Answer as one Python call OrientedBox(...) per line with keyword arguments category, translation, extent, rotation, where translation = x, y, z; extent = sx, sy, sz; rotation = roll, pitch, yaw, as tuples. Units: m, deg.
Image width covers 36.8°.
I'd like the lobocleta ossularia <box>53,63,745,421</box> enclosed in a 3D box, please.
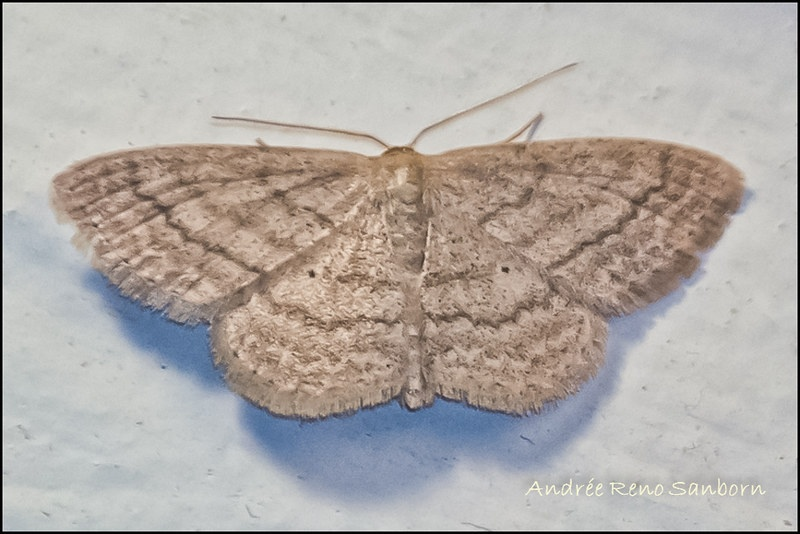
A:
OrientedBox(category="lobocleta ossularia", translation=(-0.001, -0.009, 9.194), extent=(4.669, 2.330, 1.039), rotation=(7, 27, -6))
